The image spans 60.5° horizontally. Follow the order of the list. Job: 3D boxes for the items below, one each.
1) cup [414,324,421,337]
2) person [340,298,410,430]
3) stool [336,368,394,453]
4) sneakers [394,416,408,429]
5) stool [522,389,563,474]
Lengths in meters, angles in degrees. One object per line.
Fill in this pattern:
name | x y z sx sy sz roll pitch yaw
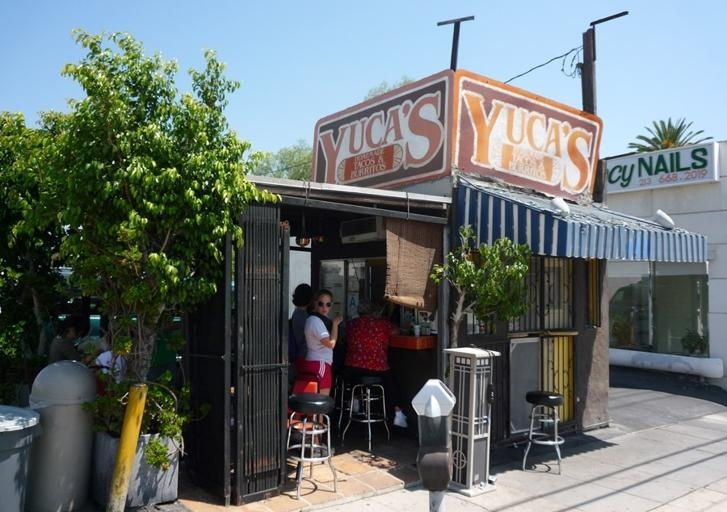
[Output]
cup | 0.914 1.258 10.319 0.096 0.169 0.158 -6 -11 44
person | 0.202 1.887 10.402 1.066 2.169 0.602 -1 4 -42
stool | -0.019 2.559 10.607 1.048 1.829 1.014 -12 -18 36
sneakers | 0.627 2.861 10.627 0.208 0.179 0.179 -6 -13 44
stool | 2.854 2.766 9.878 0.692 1.173 0.759 2 -4 0
